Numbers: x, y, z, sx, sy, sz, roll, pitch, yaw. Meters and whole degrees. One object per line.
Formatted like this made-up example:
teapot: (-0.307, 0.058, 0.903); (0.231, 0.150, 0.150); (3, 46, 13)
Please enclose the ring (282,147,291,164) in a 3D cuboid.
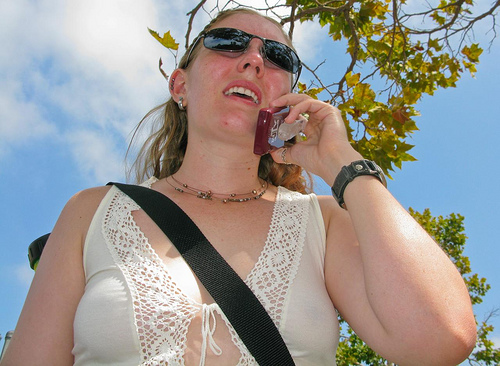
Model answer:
ring: (0.280, -0.211, 4.131); (0.030, 0.082, 0.090); (10, -70, 26)
